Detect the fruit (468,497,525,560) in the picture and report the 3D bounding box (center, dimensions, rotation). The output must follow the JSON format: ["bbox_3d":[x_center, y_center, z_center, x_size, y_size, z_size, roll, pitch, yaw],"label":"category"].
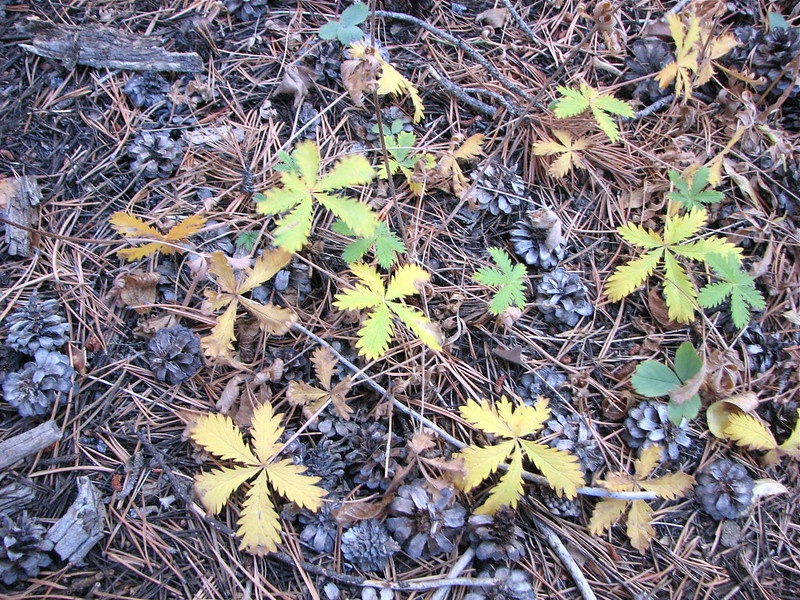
[{"bbox_3d":[0.571,1.316,4.166,0.305,0.320,0.305,9,101,18],"label":"fruit"}]

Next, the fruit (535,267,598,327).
[{"bbox_3d":[0.978,-0.020,4.421,0.324,0.124,0.330,-41,86,-9],"label":"fruit"}]

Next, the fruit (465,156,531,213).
[{"bbox_3d":[0.600,-0.680,4.390,0.315,0.125,0.310,27,82,0],"label":"fruit"}]

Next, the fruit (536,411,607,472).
[{"bbox_3d":[0.986,0.853,4.377,0.334,0.138,0.333,-41,89,-28],"label":"fruit"}]

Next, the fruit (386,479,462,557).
[{"bbox_3d":[0.154,1.230,4.154,0.436,0.442,0.214,37,97,-18],"label":"fruit"}]

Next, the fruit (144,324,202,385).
[{"bbox_3d":[-1.319,0.346,4.242,0.288,0.301,0.144,-1,72,-13],"label":"fruit"}]

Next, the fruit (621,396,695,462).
[{"bbox_3d":[1.483,0.753,4.282,0.350,0.172,0.364,-15,87,-7],"label":"fruit"}]

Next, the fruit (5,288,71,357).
[{"bbox_3d":[-1.997,0.166,4.267,0.320,0.354,0.343,9,65,0],"label":"fruit"}]

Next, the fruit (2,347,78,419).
[{"bbox_3d":[-1.988,0.455,4.102,0.379,0.144,0.281,-40,82,-20],"label":"fruit"}]

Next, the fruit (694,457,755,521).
[{"bbox_3d":[1.867,1.079,4.309,0.320,0.162,0.320,-43,73,8],"label":"fruit"}]
